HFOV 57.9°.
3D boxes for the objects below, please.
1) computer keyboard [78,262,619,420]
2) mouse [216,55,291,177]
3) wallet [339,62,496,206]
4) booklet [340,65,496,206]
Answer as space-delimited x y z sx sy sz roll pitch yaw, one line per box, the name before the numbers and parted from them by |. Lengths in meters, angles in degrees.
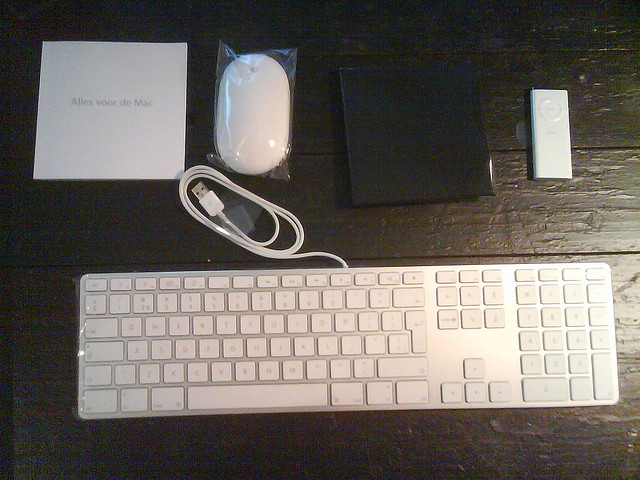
computer keyboard | 0.045 0.169 1.001 0.920 0.167 0.243 -3 73 6
mouse | -0.116 -0.209 1.000 0.133 0.052 0.190 3 94 -1
wallet | 0.167 -0.185 1.027 0.271 0.062 0.245 0 87 2
booklet | 0.168 -0.198 1.034 0.261 0.030 0.267 -2 81 -1
